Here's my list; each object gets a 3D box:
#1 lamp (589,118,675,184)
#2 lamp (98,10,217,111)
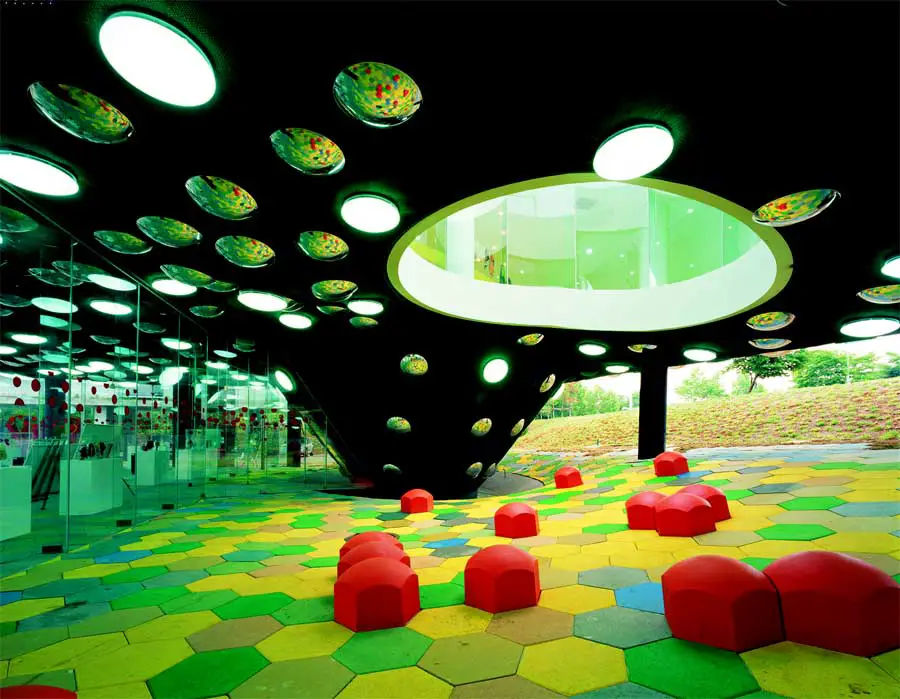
[{"bbox_3d":[2.349,-2.544,7.214,0.802,0.380,0.934,-1,-3,-22],"label":"lamp"},{"bbox_3d":[-3.170,-3.113,6.050,1.127,0.499,1.000,0,-4,-39],"label":"lamp"}]
